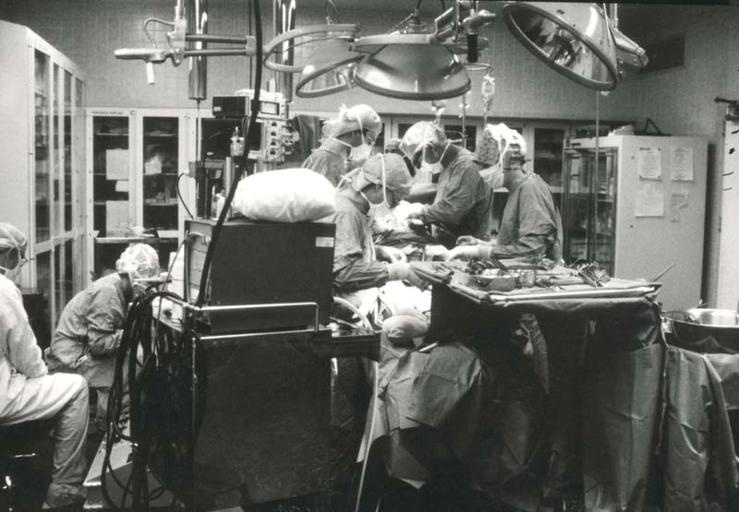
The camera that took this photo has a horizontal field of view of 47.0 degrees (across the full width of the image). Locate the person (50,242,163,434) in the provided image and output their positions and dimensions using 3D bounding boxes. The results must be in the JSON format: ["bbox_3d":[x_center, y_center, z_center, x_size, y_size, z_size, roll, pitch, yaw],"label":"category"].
[{"bbox_3d":[-1.400,0.485,4.604,0.601,1.068,0.446,7,14,-24],"label":"person"}]

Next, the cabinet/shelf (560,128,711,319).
[{"bbox_3d":[1.266,-0.142,3.978,0.310,0.881,0.914,0,4,2],"label":"cabinet/shelf"}]

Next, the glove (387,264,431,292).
[{"bbox_3d":[0.181,0.097,4.070,0.144,0.058,0.142,8,-3,-44],"label":"glove"}]

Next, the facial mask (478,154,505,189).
[{"bbox_3d":[0.633,-0.426,4.433,0.100,0.113,0.121,-7,25,2],"label":"facial mask"}]

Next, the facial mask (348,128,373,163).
[{"bbox_3d":[-0.041,-0.576,4.579,0.137,0.162,0.115,15,-5,0],"label":"facial mask"}]

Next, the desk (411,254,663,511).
[{"bbox_3d":[0.607,0.566,3.903,1.019,1.167,0.888,2,2,-4],"label":"desk"}]

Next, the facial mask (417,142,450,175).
[{"bbox_3d":[0.366,-0.550,4.848,0.063,0.168,0.117,31,10,20],"label":"facial mask"}]
